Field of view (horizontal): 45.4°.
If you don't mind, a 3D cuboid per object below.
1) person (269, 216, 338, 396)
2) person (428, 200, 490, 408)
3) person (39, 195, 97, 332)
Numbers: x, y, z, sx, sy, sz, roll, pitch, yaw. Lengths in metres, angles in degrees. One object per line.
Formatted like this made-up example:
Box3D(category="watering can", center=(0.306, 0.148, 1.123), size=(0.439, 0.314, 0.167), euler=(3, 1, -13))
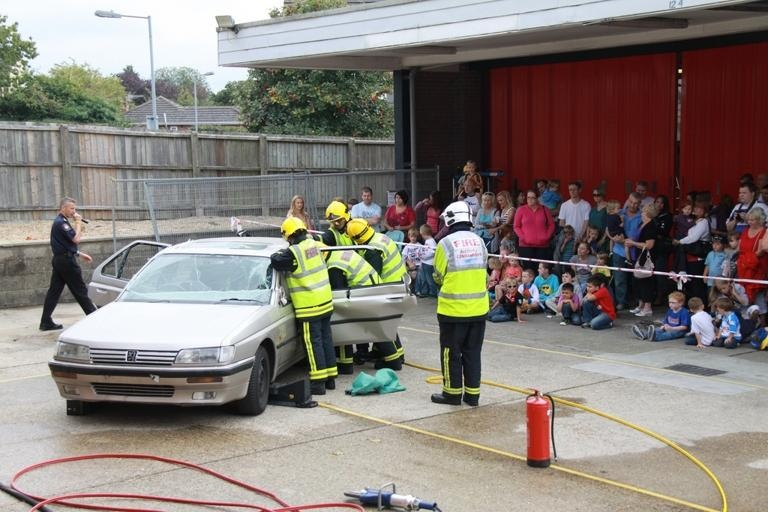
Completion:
Box3D(category="person", center=(-1.256, 0.703, 13.094), size=(1.089, 2.430, 1.096), euler=(-3, -1, -30))
Box3D(category="person", center=(1.019, 0.667, 12.960), size=(1.107, 2.471, 0.985), euler=(1, -1, -2))
Box3D(category="person", center=(-5.732, 0.044, 16.850), size=(1.408, 2.662, 1.180), euler=(4, -2, -5))
